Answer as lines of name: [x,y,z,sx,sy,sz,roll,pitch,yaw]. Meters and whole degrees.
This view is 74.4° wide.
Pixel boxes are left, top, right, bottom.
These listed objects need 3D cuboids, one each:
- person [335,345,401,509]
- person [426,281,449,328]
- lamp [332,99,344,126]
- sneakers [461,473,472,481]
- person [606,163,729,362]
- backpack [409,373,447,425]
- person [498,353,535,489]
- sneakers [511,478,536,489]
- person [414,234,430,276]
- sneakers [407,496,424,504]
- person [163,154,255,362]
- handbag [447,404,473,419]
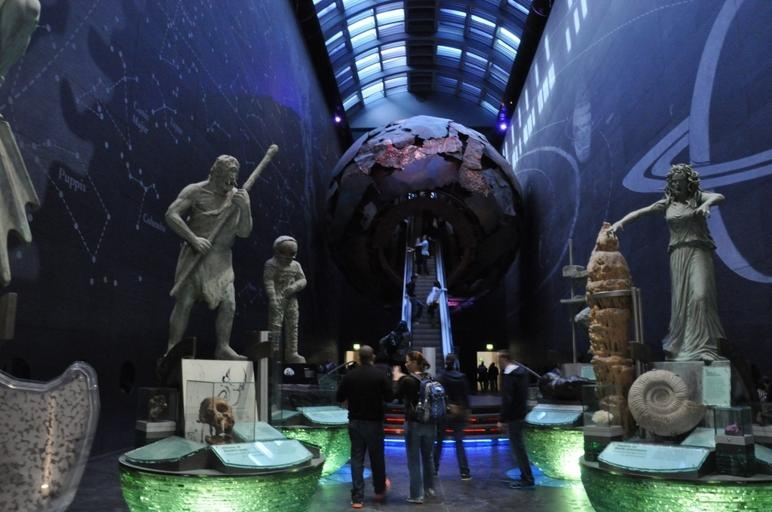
person: [-0.273,2.094,6.416,0.679,1.889,0.582,0,-10,1]
person: [1.600,1.571,16.036,0.563,1.195,0.516,0,-10,5]
lamp: [-2.092,-6.361,22.297,0.224,0.913,0.917,-35,12,-16]
sneakers: [1.167,3.156,7.269,0.162,0.070,0.142,0,-10,2]
person: [3.847,0.051,6.422,0.749,2.471,0.461,-5,-12,28]
backpack: [0.684,1.770,6.442,0.496,0.706,0.572,-8,-11,32]
person: [1.829,2.232,7.060,0.424,1.782,0.416,-2,-11,13]
sneakers: [1.853,3.063,6.855,0.341,0.132,0.121,3,-10,3]
person: [1.405,-0.065,19.318,0.561,1.611,1.173,-1,-10,8]
sneakers: [0.362,2.971,6.232,0.184,0.082,0.079,2,-7,24]
person: [-2.190,-0.021,6.185,0.974,2.498,0.558,5,-11,-23]
handbag: [1.079,2.215,7.314,0.195,0.091,0.262,2,-2,24]
